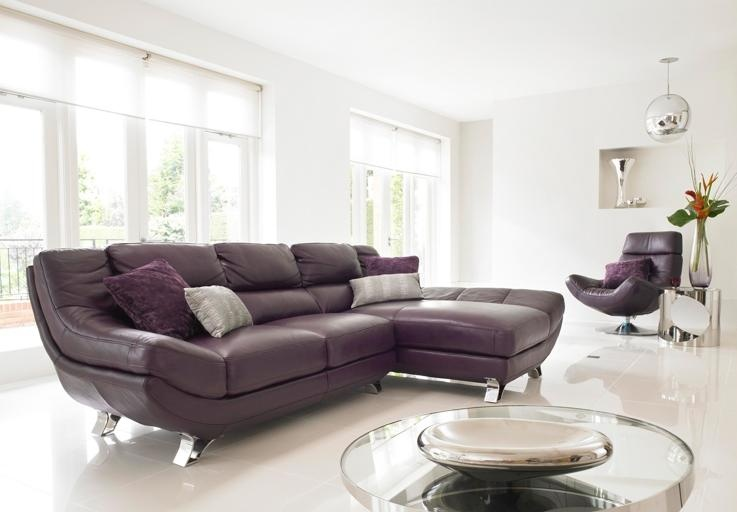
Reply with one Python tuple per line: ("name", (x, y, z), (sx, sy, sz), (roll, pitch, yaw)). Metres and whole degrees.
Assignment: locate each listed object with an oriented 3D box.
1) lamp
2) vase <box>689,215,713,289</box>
("lamp", (3.135, -1.465, 5.587), (0.400, 0.475, 0.249), (3, 7, 28))
("vase", (3.342, -0.027, 5.358), (0.183, 0.682, 0.214), (3, 8, 30))
